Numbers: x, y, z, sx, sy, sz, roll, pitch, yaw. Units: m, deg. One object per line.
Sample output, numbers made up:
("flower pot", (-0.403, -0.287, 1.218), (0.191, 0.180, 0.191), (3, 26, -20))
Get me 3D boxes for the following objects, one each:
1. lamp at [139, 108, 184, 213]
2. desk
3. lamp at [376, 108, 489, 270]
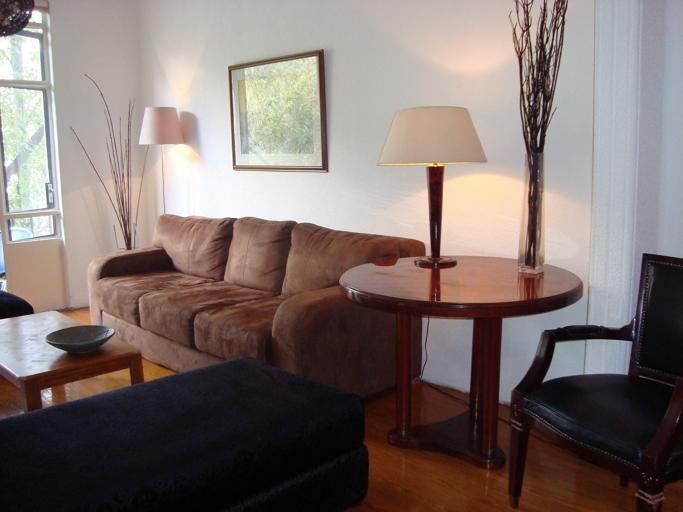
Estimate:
("lamp", (-1.665, -0.869, 5.115), (0.392, 0.981, 0.523), (-10, 14, -39))
("desk", (0.557, 0.420, 2.627), (1.036, 0.788, 1.065), (-4, 9, -27))
("lamp", (0.471, -0.366, 2.857), (0.515, 0.827, 0.397), (2, 11, 14))
